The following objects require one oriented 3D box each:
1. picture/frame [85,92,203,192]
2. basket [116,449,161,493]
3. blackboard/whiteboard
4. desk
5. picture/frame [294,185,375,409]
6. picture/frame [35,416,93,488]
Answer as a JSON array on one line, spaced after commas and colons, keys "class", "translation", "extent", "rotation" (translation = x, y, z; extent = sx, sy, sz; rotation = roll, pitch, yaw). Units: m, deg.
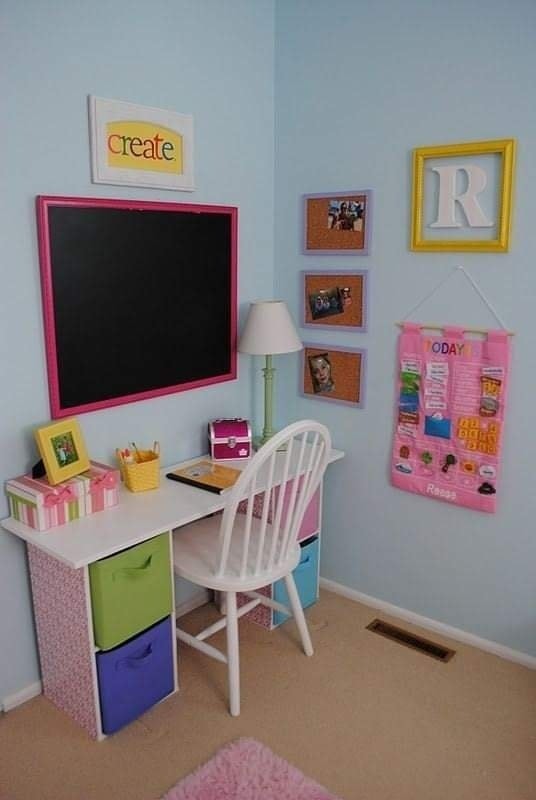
[{"class": "picture/frame", "translation": [-0.388, -0.797, 1.918], "extent": [0.051, 0.269, 0.437], "rotation": [7, 12, 32]}, {"class": "basket", "translation": [-0.425, 0.238, 1.967], "extent": [0.091, 0.126, 0.105], "rotation": [12, 16, 33]}, {"class": "blackboard/whiteboard", "translation": [-0.442, -0.311, 1.964], "extent": [0.034, 0.619, 0.755], "rotation": [11, 16, 31]}, {"class": "desk", "translation": [-0.464, 0.629, 1.855], "extent": [0.428, 0.622, 0.557], "rotation": [9, 13, 38]}, {"class": "picture/frame", "translation": [0.260, -0.390, 2.389], "extent": [0.055, 0.816, 0.337], "rotation": [-9, 14, -43]}, {"class": "picture/frame", "translation": [-0.593, 0.155, 1.739], "extent": [0.068, 0.152, 0.163], "rotation": [14, 18, 19]}]
